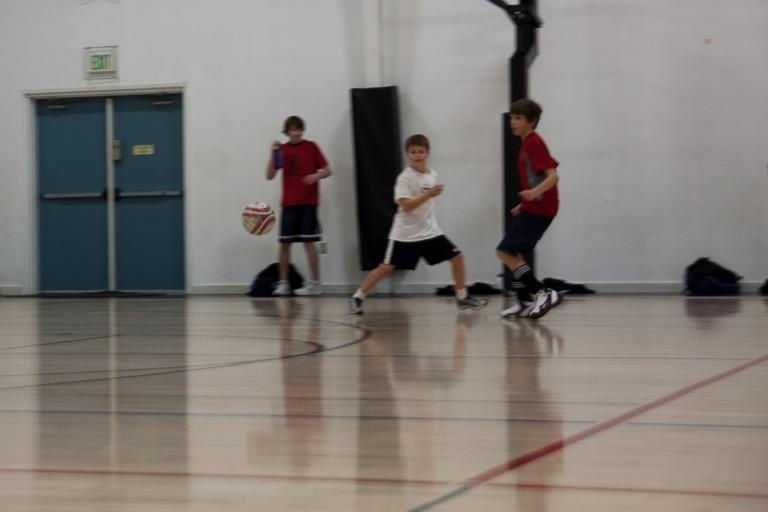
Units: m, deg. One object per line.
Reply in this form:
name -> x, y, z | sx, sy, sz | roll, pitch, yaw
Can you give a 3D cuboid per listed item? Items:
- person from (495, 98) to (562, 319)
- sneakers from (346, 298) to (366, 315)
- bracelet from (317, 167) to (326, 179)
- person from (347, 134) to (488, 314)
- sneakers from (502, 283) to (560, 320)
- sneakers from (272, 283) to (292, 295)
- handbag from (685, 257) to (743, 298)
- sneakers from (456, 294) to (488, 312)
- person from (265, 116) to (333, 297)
person -> 0.873, -0.270, 4.794 | 0.376, 1.346, 0.603 | 0, 12, 9
sneakers -> -0.185, 0.334, 5.219 | 0.079, 0.113, 0.121 | 0, -7, -3
bracelet -> -0.516, -0.718, 6.751 | 0.094, 0.077, 0.159 | -2, 11, -4
person -> 0.212, -0.193, 5.159 | 0.890, 1.177, 0.436 | -9, 14, -33
sneakers -> 0.873, 0.287, 4.740 | 0.354, 0.206, 0.261 | 0, 11, 9
sneakers -> -0.855, 0.288, 6.733 | 0.157, 0.093, 0.072 | 2, -4, 1
handbag -> 2.590, 0.176, 6.351 | 0.428, 0.229, 0.272 | -2, 1, -8
sneakers -> 0.599, 0.329, 5.362 | 0.213, 0.092, 0.086 | -2, 5, 11
person -> -0.703, -0.432, 6.790 | 0.540, 1.520, 0.445 | -2, 12, -3
